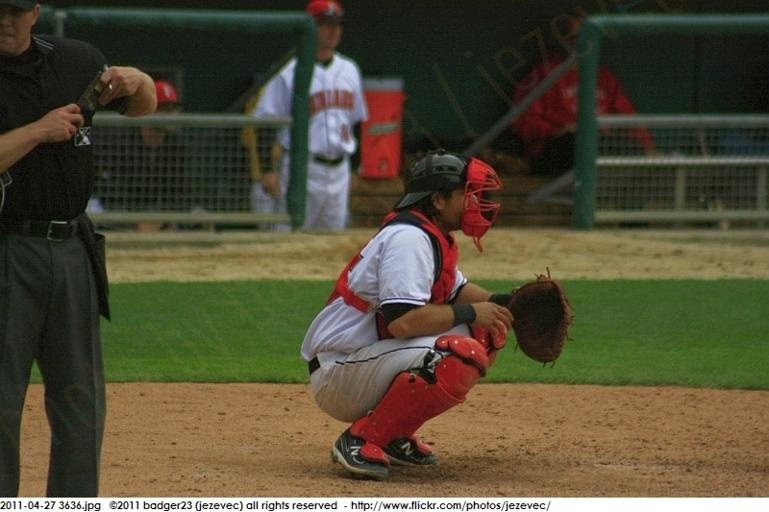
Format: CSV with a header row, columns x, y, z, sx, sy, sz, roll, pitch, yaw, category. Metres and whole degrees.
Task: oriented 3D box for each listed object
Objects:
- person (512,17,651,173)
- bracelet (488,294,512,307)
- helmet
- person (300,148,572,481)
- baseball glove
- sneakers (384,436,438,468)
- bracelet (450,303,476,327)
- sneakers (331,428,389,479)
x,y,z,sx,sy,sz,roll,pitch,yaw,category
1.466,-1.088,12.799,0.875,1.043,2.345,7,7,3,person
0.674,0.248,9.188,0.153,0.069,0.107,1,8,17,bracelet
0.270,-0.425,9.036,0.435,0.219,0.298,-15,12,9,helmet
0.253,0.328,9.023,1.357,1.830,0.470,6,7,-2,person
0.916,0.370,9.153,0.435,0.467,0.247,4,11,41,baseball glove
0.151,1.122,9.114,0.388,0.120,0.115,1,0,3,sneakers
0.444,0.330,8.877,0.146,0.088,0.107,-2,5,5,bracelet
-0.139,1.116,9.023,0.352,0.208,0.198,24,-7,6,sneakers
